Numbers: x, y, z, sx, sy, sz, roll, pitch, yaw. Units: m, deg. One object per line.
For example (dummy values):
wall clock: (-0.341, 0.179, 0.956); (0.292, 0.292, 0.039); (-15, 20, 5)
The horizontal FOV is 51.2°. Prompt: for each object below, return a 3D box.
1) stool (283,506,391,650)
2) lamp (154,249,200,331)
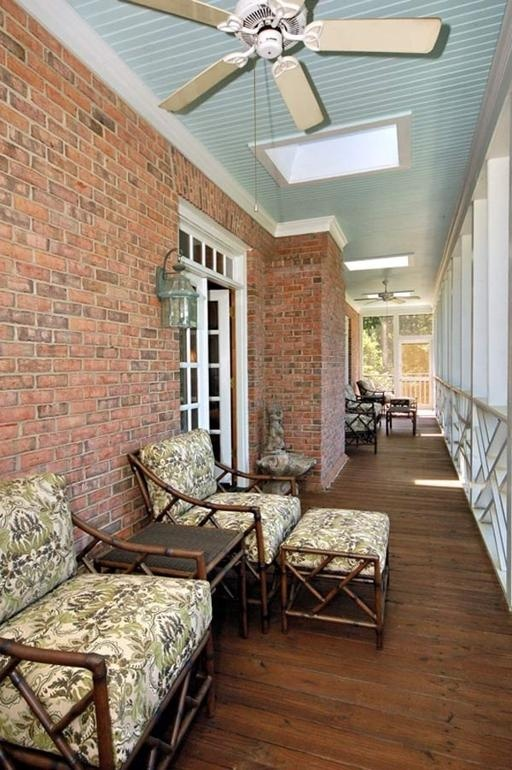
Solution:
stool: (0.381, 0.821, 2.501); (0.431, 0.425, 0.616); (0, 2, 14)
lamp: (-0.466, -0.577, 3.135); (0.228, 0.487, 0.359); (-1, 3, -8)
